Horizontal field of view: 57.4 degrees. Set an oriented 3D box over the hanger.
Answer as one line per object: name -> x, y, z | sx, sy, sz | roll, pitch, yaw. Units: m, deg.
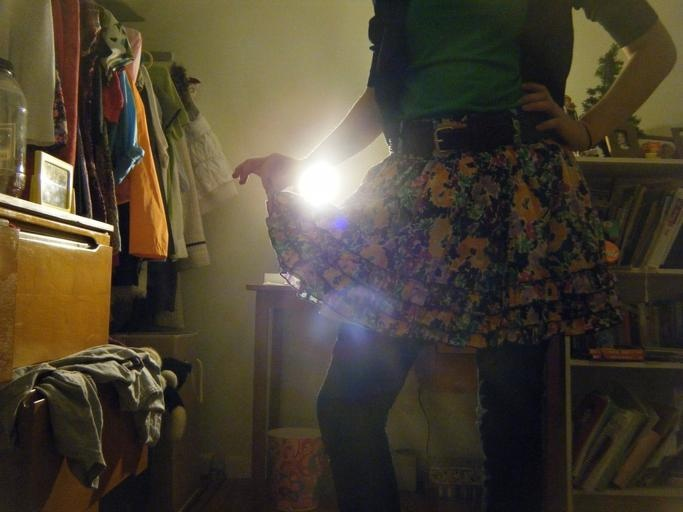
hanger -> -0.737, -0.827, 2.654 | 0.225, 0.219, 0.215 | 0, -12, 4
